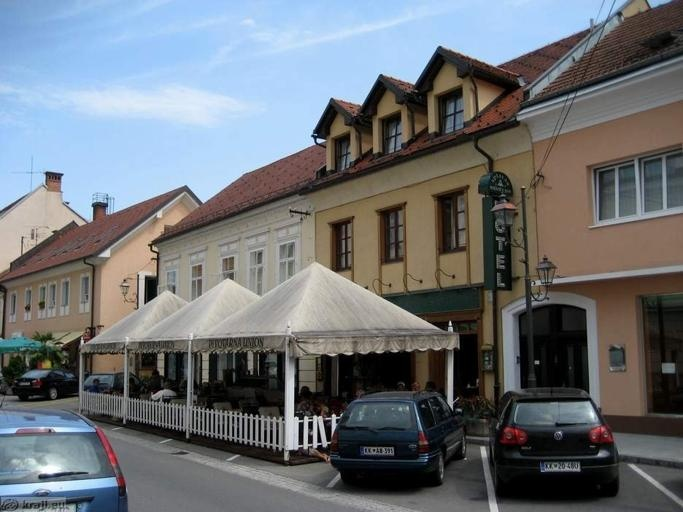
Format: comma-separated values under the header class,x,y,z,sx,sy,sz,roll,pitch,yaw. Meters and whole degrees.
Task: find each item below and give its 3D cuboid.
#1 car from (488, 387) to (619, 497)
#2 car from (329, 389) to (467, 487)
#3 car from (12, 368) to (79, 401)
class,x,y,z,sx,sy,sz,roll,pitch,yaw
car,3.916,3.430,15.150,1.448,1.259,2.643,-1,-6,7
car,1.412,3.692,17.218,1.329,1.184,2.913,-4,-7,23
car,-13.256,5.721,36.911,1.332,1.032,3.014,-3,-5,26
